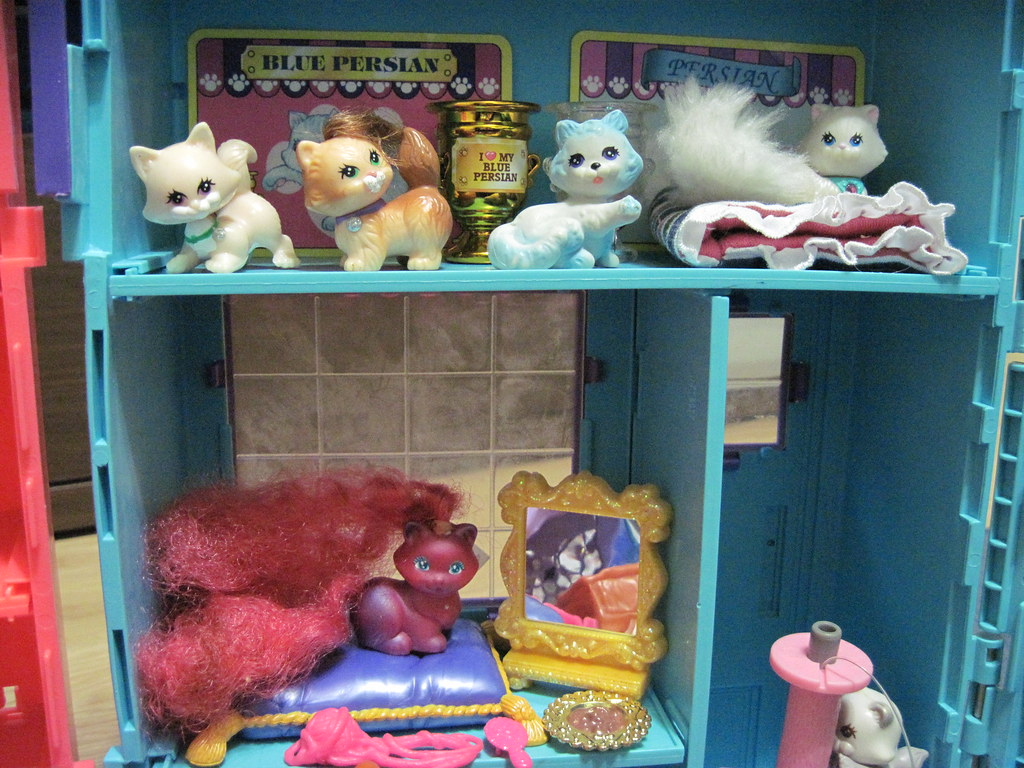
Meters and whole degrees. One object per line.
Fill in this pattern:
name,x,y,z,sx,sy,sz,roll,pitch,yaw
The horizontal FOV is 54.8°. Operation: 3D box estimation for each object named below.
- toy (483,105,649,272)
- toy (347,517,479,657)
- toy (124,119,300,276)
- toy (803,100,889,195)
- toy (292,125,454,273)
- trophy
toy,0.083,-0.328,1.914,0.368,0.382,0.280,0,7,-5
toy,-0.194,0.396,2.039,0.272,0.256,0.253,-14,26,-39
toy,-0.518,-0.323,1.738,0.270,0.255,0.087,-5,8,-20
toy,0.678,-0.456,2.028,0.175,0.220,0.151,3,12,16
toy,-0.242,-0.356,1.808,0.275,0.278,0.145,-5,17,-11
trophy,-0.078,-0.378,1.876,0.285,0.370,0.290,1,8,-7
